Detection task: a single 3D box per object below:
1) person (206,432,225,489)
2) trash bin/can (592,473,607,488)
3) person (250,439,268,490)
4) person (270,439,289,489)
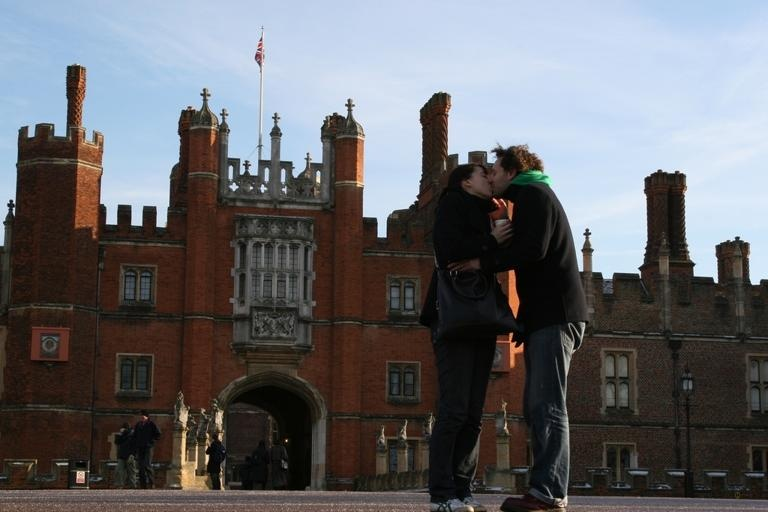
[{"bbox_3d":[-5.599,6.611,56.378,0.620,1.864,1.427,0,-10,-6],"label":"person"},{"bbox_3d":[7.279,7.539,58.165,0.666,0.544,0.447,0,-7,-5],"label":"trash bin/can"},{"bbox_3d":[-4.324,6.974,58.955,0.601,1.385,1.058,0,-10,-4],"label":"person"},{"bbox_3d":[-3.663,7.024,59.149,0.537,1.487,1.030,0,-10,-4],"label":"person"}]
